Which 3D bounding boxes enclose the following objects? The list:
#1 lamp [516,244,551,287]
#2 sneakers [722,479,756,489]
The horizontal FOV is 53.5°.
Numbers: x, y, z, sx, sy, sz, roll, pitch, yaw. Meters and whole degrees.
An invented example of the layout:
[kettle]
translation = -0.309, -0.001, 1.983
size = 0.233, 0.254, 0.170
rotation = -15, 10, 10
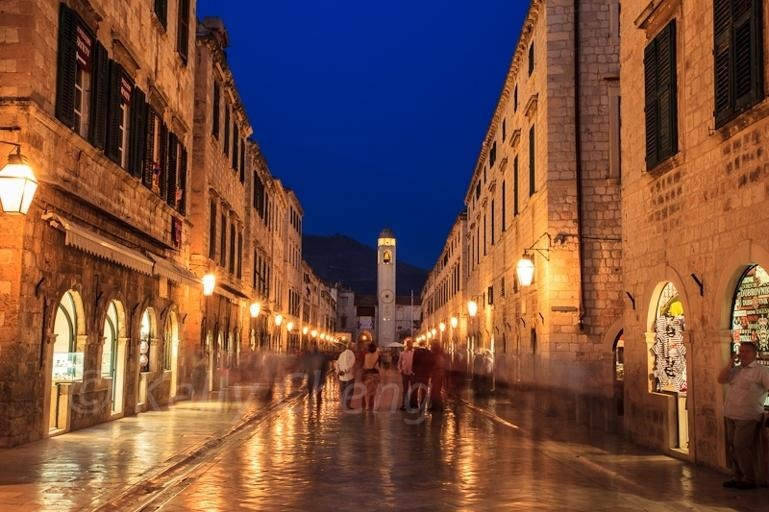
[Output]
[lamp]
translation = 4.271, 0.111, 21.947
size = 0.834, 1.713, 0.475
rotation = 5, -15, 4
[sneakers]
translation = 6.196, 3.949, 13.307
size = 0.443, 0.198, 0.207
rotation = 4, -8, 8
